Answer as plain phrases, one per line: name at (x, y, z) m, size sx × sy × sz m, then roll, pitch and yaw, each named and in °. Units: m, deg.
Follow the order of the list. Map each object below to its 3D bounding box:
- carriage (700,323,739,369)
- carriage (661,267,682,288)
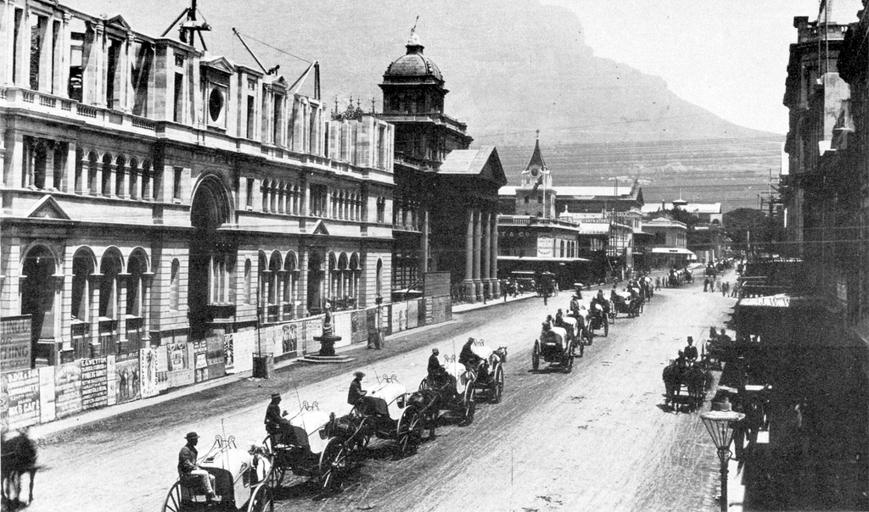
carriage at (16.341, 5.287, 61.187) m, size 1.848 × 2.478 × 4.446 m, roll -2°, pitch -9°, yaw 8°
carriage at (24.897, 2.280, 112.570) m, size 1.336 × 2.235 × 4.109 m, roll 2°, pitch 3°, yaw 17°
